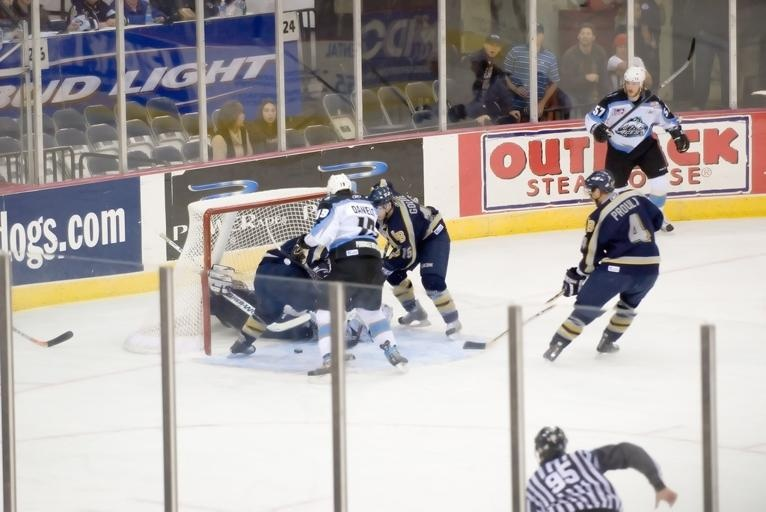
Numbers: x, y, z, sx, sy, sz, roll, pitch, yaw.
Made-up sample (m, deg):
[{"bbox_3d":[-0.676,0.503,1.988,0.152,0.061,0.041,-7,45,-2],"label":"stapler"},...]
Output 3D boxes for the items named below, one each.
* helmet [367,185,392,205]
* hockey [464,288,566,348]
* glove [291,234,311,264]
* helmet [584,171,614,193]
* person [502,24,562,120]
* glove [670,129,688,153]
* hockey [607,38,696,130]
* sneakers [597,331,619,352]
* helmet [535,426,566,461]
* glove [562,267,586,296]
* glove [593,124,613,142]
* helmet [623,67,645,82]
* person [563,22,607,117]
[{"bbox_3d":[-0.019,-0.445,9.325,0.130,0.141,0.165,10,15,41],"label":"helmet"},{"bbox_3d":[0.716,0.337,7.167,0.175,0.066,0.812,-13,-20,-44],"label":"hockey"},{"bbox_3d":[-0.564,-0.049,9.052,0.172,0.132,0.188,-12,5,8],"label":"glove"},{"bbox_3d":[1.491,-0.519,9.102,0.186,0.155,0.139,13,24,21],"label":"helmet"},{"bbox_3d":[1.452,-1.793,12.767,0.539,0.846,0.495,3,20,-8],"label":"person"},{"bbox_3d":[2.753,-1.080,12.148,0.138,0.234,0.107,-10,6,37],"label":"glove"},{"bbox_3d":[2.543,-1.678,12.623,0.380,1.215,0.098,36,21,-7],"label":"hockey"},{"bbox_3d":[1.115,0.431,6.603,0.098,0.082,0.140,-4,5,-12],"label":"sneakers"},{"bbox_3d":[0.831,0.917,6.648,0.157,0.179,0.186,4,20,6],"label":"helmet"},{"bbox_3d":[1.293,0.171,8.877,0.177,0.165,0.119,-17,46,-41],"label":"glove"},{"bbox_3d":[1.987,-1.134,11.958,0.158,0.135,0.153,-22,34,-27],"label":"glove"},{"bbox_3d":[2.241,-1.616,11.759,0.164,0.173,0.192,6,17,28],"label":"helmet"},{"bbox_3d":[2.004,-1.813,12.954,0.504,0.942,0.555,-3,26,-1],"label":"person"}]
